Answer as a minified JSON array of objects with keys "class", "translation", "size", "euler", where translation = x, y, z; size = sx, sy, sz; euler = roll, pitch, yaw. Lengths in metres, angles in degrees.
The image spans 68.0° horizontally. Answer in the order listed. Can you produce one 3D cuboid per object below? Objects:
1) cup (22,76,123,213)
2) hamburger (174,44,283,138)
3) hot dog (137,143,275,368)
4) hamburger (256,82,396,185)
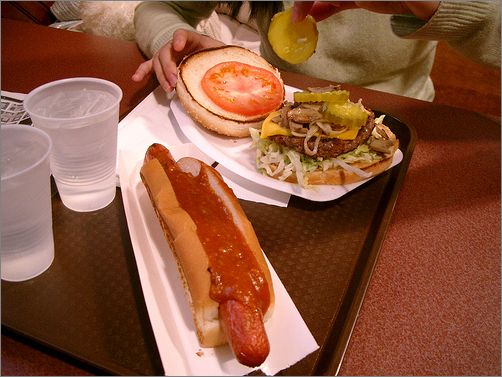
[{"class":"cup","translation":[-0.772,-0.177,1.636],"size":[0.372,0.463,0.402],"euler":[5,38,-4]},{"class":"hamburger","translation":[-0.150,-0.573,2.550],"size":[0.677,0.220,0.665],"euler":[2,56,-21]},{"class":"hot dog","translation":[-0.178,0.190,1.608],"size":[0.375,0.256,1.009],"euler":[-10,57,-34]},{"class":"hamburger","translation":[0.397,-0.269,2.088],"size":[0.703,0.262,0.559],"euler":[-2,59,1]}]
